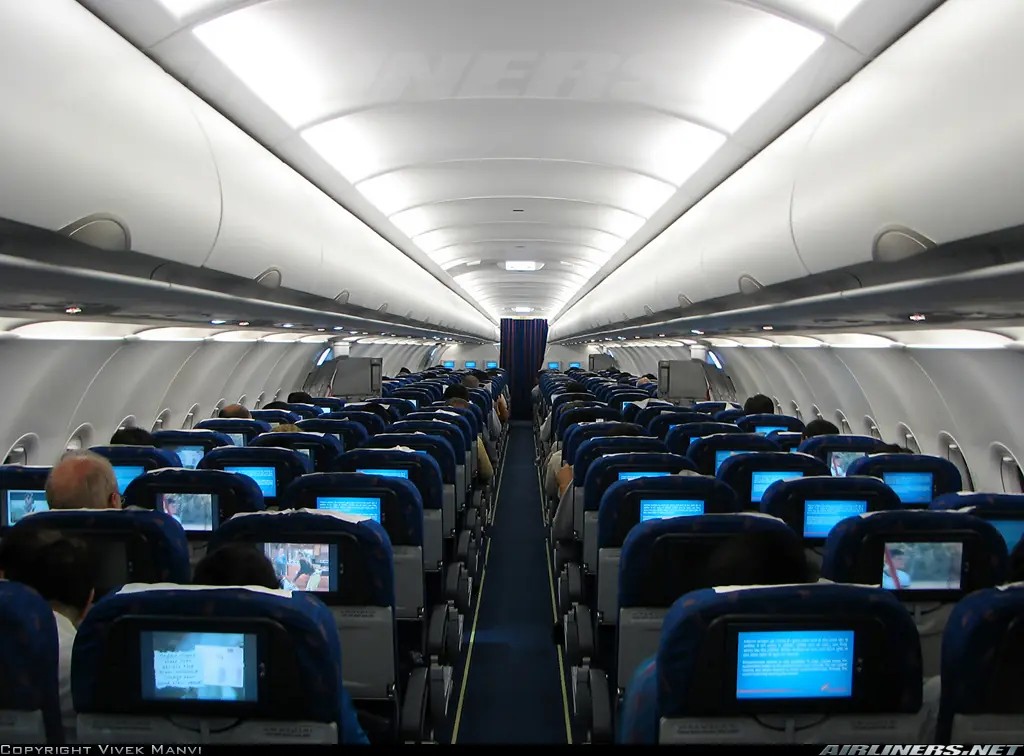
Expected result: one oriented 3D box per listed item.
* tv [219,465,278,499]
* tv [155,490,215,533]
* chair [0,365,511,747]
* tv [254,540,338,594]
[{"bbox_3d":[-2.016,0.787,5.765,0.410,0.253,0.051,2,8,-9],"label":"tv"},{"bbox_3d":[-2.188,0.885,5.061,0.413,0.268,0.039,1,8,1],"label":"tv"},{"bbox_3d":[-1.126,1.063,3.674,1.377,1.637,1.645,0,-1,2],"label":"chair"},{"bbox_3d":[-1.114,0.986,3.949,0.483,0.302,0.045,0,3,1],"label":"tv"}]
